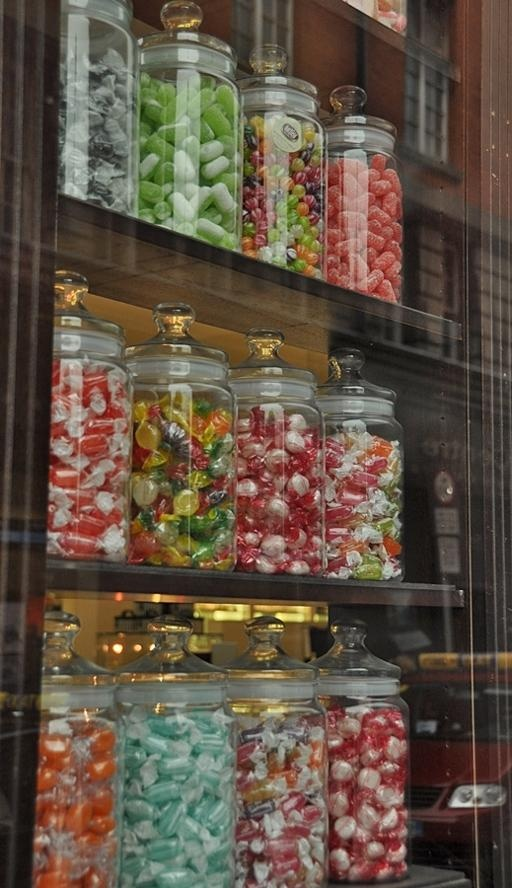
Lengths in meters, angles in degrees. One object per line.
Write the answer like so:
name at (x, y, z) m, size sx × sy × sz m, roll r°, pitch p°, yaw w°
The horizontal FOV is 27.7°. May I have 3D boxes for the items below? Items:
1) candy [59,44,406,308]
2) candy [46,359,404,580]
candy at (0.026, -0.310, 1.362) m, size 0.268 × 0.330 × 0.200 m, roll -4°, pitch 8°, yaw -41°
candy at (-0.038, 0.031, 1.090) m, size 0.146 × 0.262 × 0.126 m, roll 3°, pitch -9°, yaw -17°
